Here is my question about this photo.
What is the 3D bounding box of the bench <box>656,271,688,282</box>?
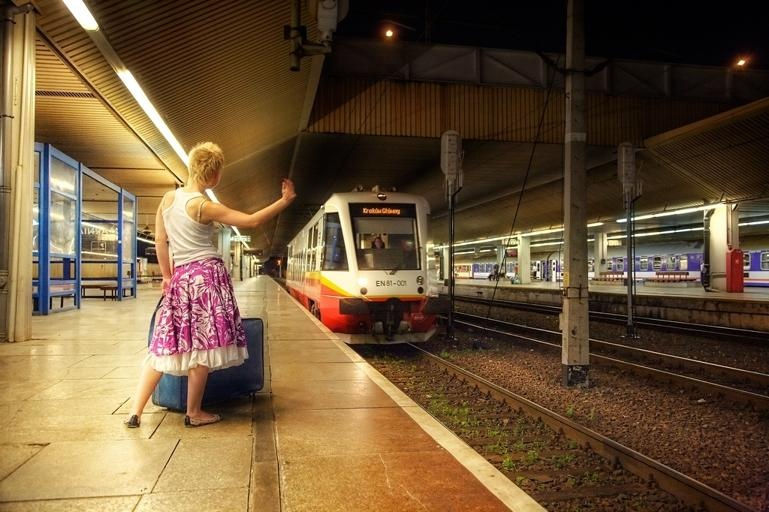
[{"bbox_3d":[17.345,1.224,31.340,0.712,0.619,2.768,7,4,-4],"label":"bench"}]

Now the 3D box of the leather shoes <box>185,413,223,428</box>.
[{"bbox_3d":[-2.087,1.875,6.040,0.403,0.168,0.145,0,-1,-31],"label":"leather shoes"}]

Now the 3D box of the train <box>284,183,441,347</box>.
[{"bbox_3d":[-0.581,0.113,13.676,2.218,3.778,4.197,5,5,-29],"label":"train"}]
